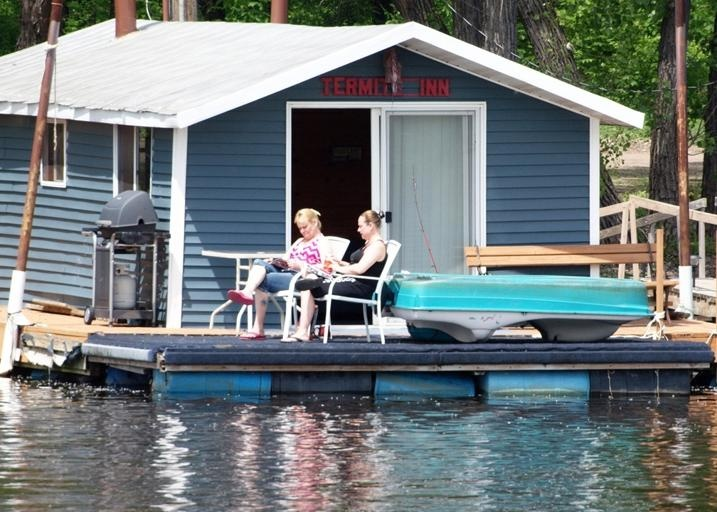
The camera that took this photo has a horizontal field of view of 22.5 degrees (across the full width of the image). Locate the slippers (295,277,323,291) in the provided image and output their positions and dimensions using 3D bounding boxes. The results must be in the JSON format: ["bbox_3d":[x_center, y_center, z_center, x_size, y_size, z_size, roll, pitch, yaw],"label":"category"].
[{"bbox_3d":[-0.638,0.362,22.678,0.351,0.160,0.160,1,-3,-2],"label":"slippers"}]

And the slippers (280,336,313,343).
[{"bbox_3d":[-0.819,1.065,22.871,0.308,0.071,0.114,5,-9,-19],"label":"slippers"}]

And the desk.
[{"bbox_3d":[-1.605,0.477,24.294,1.148,0.994,1.174,-1,-2,44],"label":"desk"}]

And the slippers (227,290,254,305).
[{"bbox_3d":[-1.494,0.494,22.693,0.303,0.089,0.161,20,-44,-27],"label":"slippers"}]

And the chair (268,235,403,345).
[{"bbox_3d":[-0.218,0.325,23.444,1.632,1.583,1.237,5,0,-11],"label":"chair"}]
